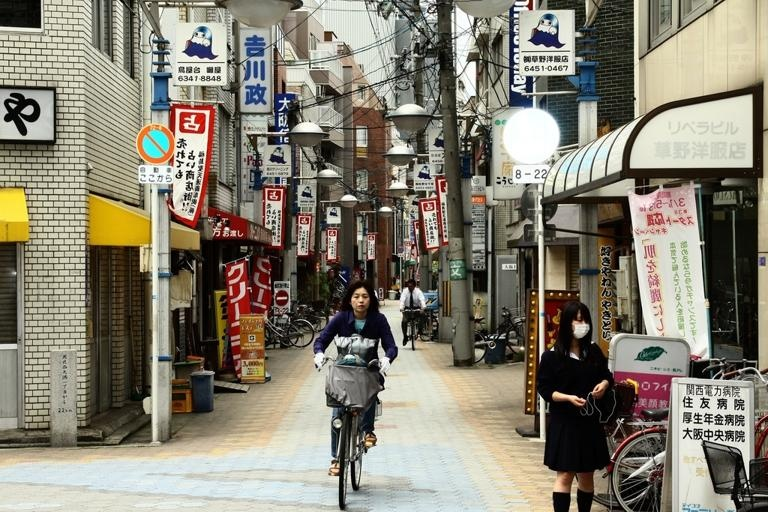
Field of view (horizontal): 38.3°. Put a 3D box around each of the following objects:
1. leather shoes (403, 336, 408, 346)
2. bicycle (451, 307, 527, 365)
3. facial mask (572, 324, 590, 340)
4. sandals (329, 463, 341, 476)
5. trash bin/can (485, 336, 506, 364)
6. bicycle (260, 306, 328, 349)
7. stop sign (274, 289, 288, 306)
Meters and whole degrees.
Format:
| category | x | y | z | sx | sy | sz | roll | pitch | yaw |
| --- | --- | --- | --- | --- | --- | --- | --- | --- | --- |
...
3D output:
| category | x | y | z | sx | sy | sz | roll | pitch | yaw |
| --- | --- | --- | --- | --- | --- | --- | --- | --- | --- |
| leather shoes | 0.637 | 2.530 | 32.735 | 0.092 | 0.262 | 0.148 | 9 | 6 | 15 |
| bicycle | 2.730 | 2.170 | 28.624 | 1.889 | 1.206 | 0.963 | -3 | 1 | 8 |
| facial mask | 2.257 | 0.873 | 12.668 | 0.154 | 0.133 | 0.161 | 4 | 1 | -12 |
| sandals | -0.620 | 2.779 | 14.272 | 0.110 | 0.130 | 0.307 | 1 | -1 | 1 |
| trash bin/can | 2.801 | 2.367 | 27.412 | 0.579 | 0.684 | 0.591 | 0 | -1 | 0 |
| bicycle | -2.740 | 2.266 | 33.224 | 1.400 | 0.876 | 0.873 | -2 | 5 | -9 |
| stop sign | -3.075 | 1.273 | 33.367 | 0.497 | 0.447 | 0.098 | 0 | -15 | -3 |
